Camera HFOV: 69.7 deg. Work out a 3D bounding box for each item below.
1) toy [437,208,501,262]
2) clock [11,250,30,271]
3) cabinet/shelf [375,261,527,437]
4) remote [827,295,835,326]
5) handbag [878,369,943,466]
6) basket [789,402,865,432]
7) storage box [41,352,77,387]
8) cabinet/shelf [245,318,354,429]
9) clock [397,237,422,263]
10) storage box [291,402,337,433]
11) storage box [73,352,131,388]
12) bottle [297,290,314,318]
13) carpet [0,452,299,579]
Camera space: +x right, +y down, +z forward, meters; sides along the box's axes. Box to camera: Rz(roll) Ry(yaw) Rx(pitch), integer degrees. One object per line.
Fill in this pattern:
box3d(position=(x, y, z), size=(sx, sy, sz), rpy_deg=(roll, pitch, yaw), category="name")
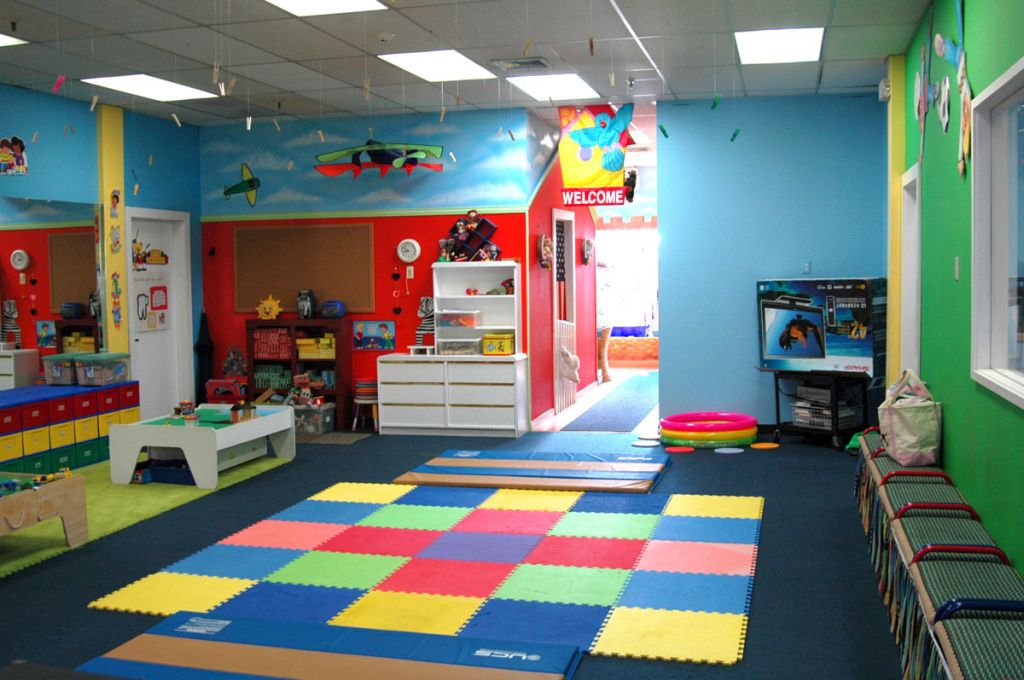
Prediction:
box3d(position=(-0.577, -1.410, 10.005), size=(0.837, 0.684, 0.350), rpy_deg=(-1, 9, 2), category="toy")
box3d(position=(-5.847, -0.931, 8.665), size=(0.204, 0.226, 0.086), rpy_deg=(6, -12, -37), category="clock")
box3d(position=(-0.739, 0.179, 9.964), size=(2.478, 2.703, 0.997), rpy_deg=(-1, -4, 11), category="cabinet/shelf")
box3d(position=(3.831, -0.332, 8.723), size=(0.094, 0.331, 0.039), rpy_deg=(3, 10, 25), category="remote")
box3d(position=(3.461, 0.639, 6.319), size=(0.506, 0.754, 0.928), rpy_deg=(-3, 1, 27), category="handbag")
box3d(position=(3.855, 0.936, 8.869), size=(0.785, 0.316, 0.380), rpy_deg=(2, 9, 22), category="basket")
box3d(position=(-5.409, 0.366, 8.694), size=(0.299, 0.288, 0.426), rpy_deg=(0, -2, -8), category="storage box")
box3d(position=(-2.927, 0.484, 10.211), size=(1.676, 1.746, 0.525), rpy_deg=(0, -2, 5), category="cabinet/shelf")
box3d(position=(-1.453, -1.234, 10.315), size=(0.345, 0.363, 0.090), rpy_deg=(1, 9, 17), category="clock")
box3d(position=(-2.781, 1.084, 10.136), size=(0.434, 0.300, 0.432), rpy_deg=(0, 0, 6), category="storage box")
box3d(position=(-4.948, 0.380, 8.856), size=(0.307, 0.251, 0.481), rpy_deg=(-1, -2, 9), category="storage box")
box3d(position=(-2.970, -0.503, 10.553), size=(0.247, 0.394, 0.264), rpy_deg=(-1, 9, 0), category="bottle")
box3d(position=(-4.011, 1.613, 7.257), size=(1.563, 0.071, 2.922), rpy_deg=(3, 9, 25), category="carpet")
